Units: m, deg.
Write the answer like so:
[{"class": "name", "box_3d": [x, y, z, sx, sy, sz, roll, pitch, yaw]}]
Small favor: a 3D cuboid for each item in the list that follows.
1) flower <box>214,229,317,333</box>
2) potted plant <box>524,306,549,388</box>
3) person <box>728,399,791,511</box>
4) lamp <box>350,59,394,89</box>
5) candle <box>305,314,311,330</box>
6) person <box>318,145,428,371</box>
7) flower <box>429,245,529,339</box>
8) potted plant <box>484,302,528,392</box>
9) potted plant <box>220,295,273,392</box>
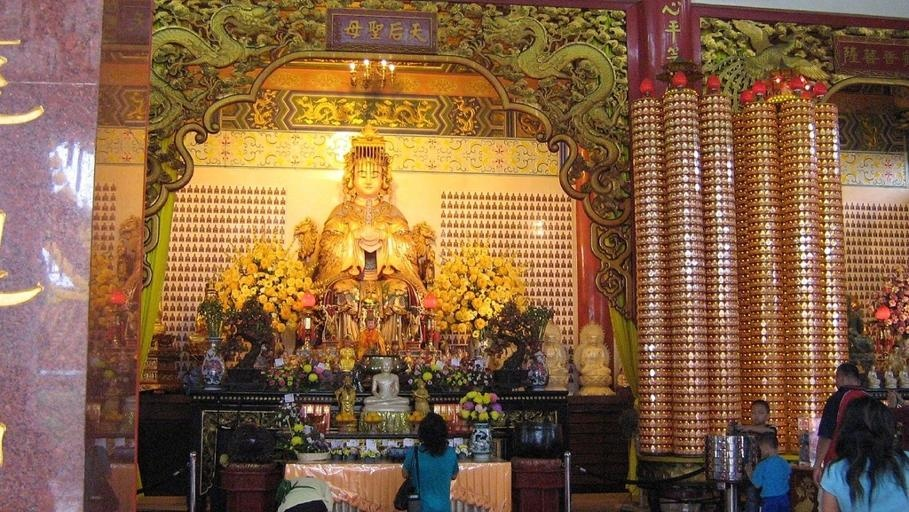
[{"class": "flower", "box_3d": [-1.877, 0.258, 13.752, 1.020, 1.004, 0.922, -2, -4, 14]}, {"class": "potted plant", "box_3d": [0.804, 0.856, 12.498, 0.218, 0.811, 0.304, 0, -11, 6]}, {"class": "person", "box_3d": [2.647, 1.705, 11.514, 0.374, 0.989, 1.212, -1, -11, 13]}, {"class": "lamp", "box_3d": [-0.959, -2.063, 15.037, 0.413, 0.254, 0.371, 0, -7, -7]}, {"class": "candle", "box_3d": [-1.481, 0.658, 13.254, 0.092, 0.156, 0.088, 0, -40, 0]}, {"class": "person", "box_3d": [-0.902, -0.115, 14.544, 1.317, 2.430, 1.082, 2, -11, -2]}, {"class": "flower", "box_3d": [0.145, 0.366, 13.636, 0.768, 0.690, 0.731, 0, -7, 15]}, {"class": "potted plant", "box_3d": [0.505, 0.864, 12.589, 0.391, 0.855, 0.613, 1, -11, 0]}, {"class": "potted plant", "box_3d": [-1.924, 0.826, 12.342, 0.442, 0.877, 0.547, 3, -11, -9]}]
